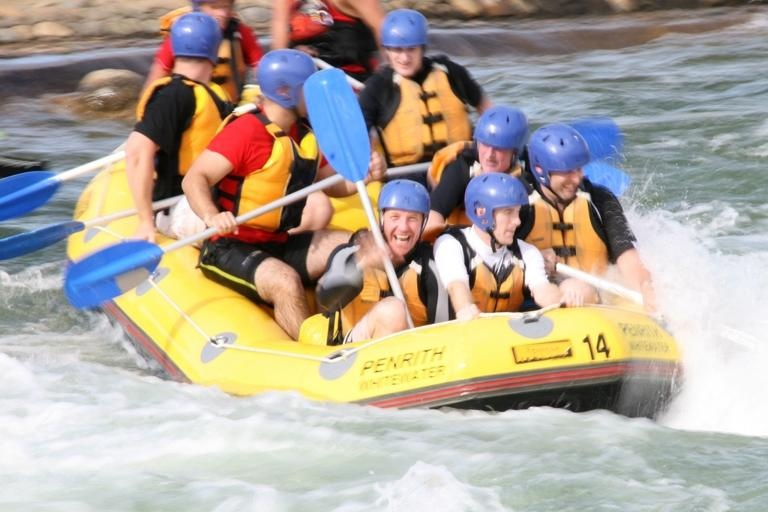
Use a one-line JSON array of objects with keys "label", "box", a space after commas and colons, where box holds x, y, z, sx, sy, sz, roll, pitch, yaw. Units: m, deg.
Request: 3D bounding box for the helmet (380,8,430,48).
[{"label": "helmet", "box": [0.161, -1.801, 6.706, 0.371, 0.289, 0.235, -2, 16, 2]}]

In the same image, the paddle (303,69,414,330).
[{"label": "paddle", "box": [-0.202, -0.392, 6.081, 0.370, 2.185, 0.121, -25, 12, -8]}]

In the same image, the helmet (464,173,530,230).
[{"label": "helmet", "box": [0.729, -0.370, 5.654, 0.468, 0.314, 0.338, 13, 12, 23]}]

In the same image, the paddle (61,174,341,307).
[{"label": "paddle", "box": [-1.249, -0.084, 6.126, 2.918, 0.443, 0.173, -16, 20, -3]}]

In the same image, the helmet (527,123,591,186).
[{"label": "helmet", "box": [1.255, -0.770, 6.220, 0.510, 0.361, 0.379, 22, 36, 40]}]

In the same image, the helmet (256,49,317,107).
[{"label": "helmet", "box": [-0.691, -1.233, 5.834, 0.486, 0.314, 0.314, 1, 17, -3]}]

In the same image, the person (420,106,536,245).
[{"label": "person", "box": [0.658, -0.631, 6.472, 0.785, 1.066, 0.494, 27, 12, 30]}]
